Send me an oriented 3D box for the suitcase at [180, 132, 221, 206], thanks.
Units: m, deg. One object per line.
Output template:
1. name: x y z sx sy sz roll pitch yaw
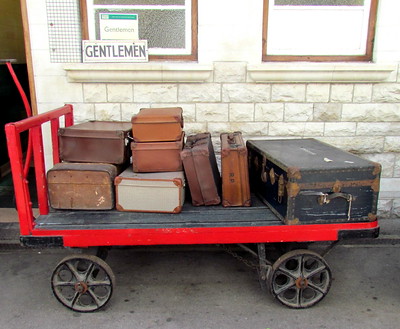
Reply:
1. suitcase: -0.010 0.087 4.242 0.331 0.700 0.855 -12 22 11

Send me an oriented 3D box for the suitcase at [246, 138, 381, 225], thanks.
1. suitcase: 1.333 0.149 4.328 1.101 0.589 1.420 -3 17 -9

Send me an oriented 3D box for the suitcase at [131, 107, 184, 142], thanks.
1. suitcase: -0.508 -0.483 4.237 0.485 0.253 0.550 -1 16 2

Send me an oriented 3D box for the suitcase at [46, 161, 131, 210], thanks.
1. suitcase: -1.367 0.267 3.937 0.655 0.372 0.603 1 8 -2

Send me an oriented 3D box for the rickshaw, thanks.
1. rickshaw: -0.360 0.436 4.876 4.415 2.516 2.089 -1 13 2

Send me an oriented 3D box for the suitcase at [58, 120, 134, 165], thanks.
1. suitcase: -1.268 -0.245 4.209 0.630 0.267 0.723 2 10 1

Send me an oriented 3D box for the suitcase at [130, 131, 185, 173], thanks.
1. suitcase: -0.516 -0.142 4.122 0.497 0.253 0.455 -1 13 -2
